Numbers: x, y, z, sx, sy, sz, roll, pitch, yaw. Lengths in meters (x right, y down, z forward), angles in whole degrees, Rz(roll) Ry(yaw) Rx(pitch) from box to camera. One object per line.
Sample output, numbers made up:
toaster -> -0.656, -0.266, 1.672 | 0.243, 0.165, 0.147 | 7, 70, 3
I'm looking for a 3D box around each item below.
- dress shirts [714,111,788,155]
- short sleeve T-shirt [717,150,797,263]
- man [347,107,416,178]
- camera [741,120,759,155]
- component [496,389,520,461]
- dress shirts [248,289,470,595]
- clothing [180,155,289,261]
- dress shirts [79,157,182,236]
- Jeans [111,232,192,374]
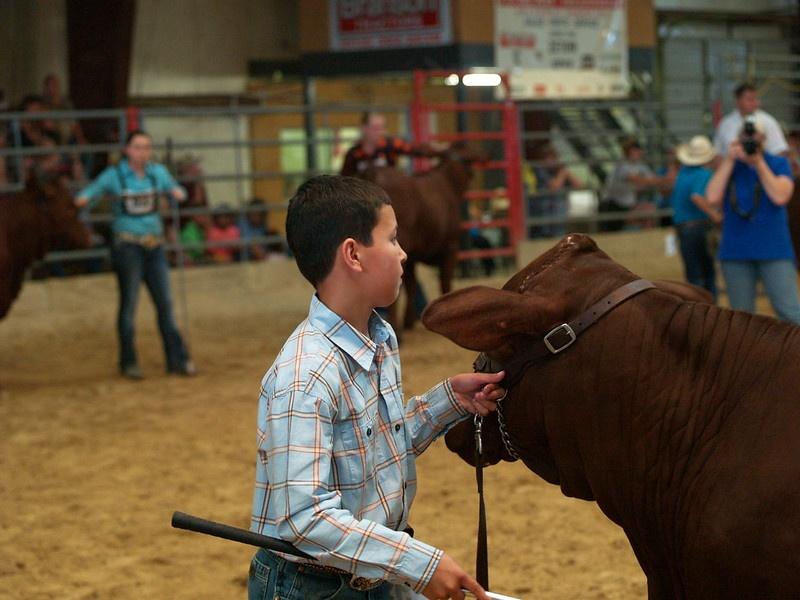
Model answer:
dress shirts -> 1.407, -0.644, 3.841 | 0.259, 0.230, 0.133 | -8, -7, 10
short sleeve T-shirt -> 1.716, -0.411, 4.657 | 0.361, 0.753, 0.487 | -1, 4, 36
man -> -0.227, -1.280, 7.827 | 0.674, 0.480, 0.301 | -9, 12, -41
camera -> 1.382, -0.650, 3.788 | 0.047, 0.058, 0.103 | 3, -5, 16
component -> 0.339, 0.372, 2.856 | 0.027, 0.182, 0.105 | -27, 38, -24
dress shirts -> -0.133, 0.383, 2.865 | 0.626, 1.063, 0.774 | 1, 22, 10
clothing -> -1.058, -0.633, 6.340 | 0.694, 0.408, 1.100 | -1, 44, -10
dress shirts -> -1.218, -0.468, 4.435 | 0.570, 0.401, 0.166 | -6, 9, -32
Jeans -> -1.202, 0.029, 4.635 | 0.305, 0.218, 0.928 | -1, 48, -18
